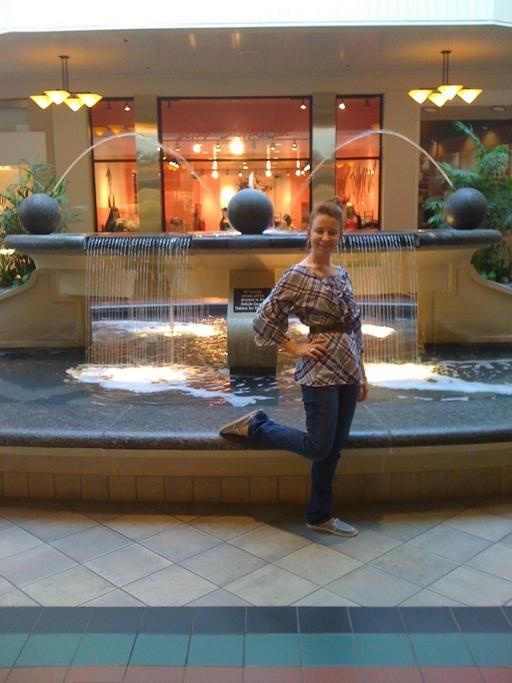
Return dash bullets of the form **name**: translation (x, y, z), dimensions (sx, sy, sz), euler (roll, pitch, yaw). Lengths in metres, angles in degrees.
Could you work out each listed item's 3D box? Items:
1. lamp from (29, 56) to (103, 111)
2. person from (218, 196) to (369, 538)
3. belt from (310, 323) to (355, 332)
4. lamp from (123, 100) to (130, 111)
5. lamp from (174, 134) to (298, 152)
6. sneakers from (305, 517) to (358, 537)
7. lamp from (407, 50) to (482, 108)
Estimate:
- **lamp**: translation (-3.937, -5.310, 12.408), dimensions (1.328, 0.940, 1.408), euler (-9, 17, -33)
- **person**: translation (0.199, 0.149, 2.760), dimensions (0.563, 1.523, 0.382), euler (2, 10, 16)
- **belt**: translation (0.338, -0.060, 2.640), dimensions (0.200, 0.045, 0.087), euler (-2, 9, -7)
- **lamp**: translation (-2.966, -5.393, 13.805), dimensions (0.137, 0.188, 0.050), euler (0, 6, 3)
- **lamp**: translation (-0.586, -4.664, 14.245), dimensions (3.028, 0.377, 0.217), euler (0, 29, 2)
- **sneakers**: translation (0.358, 0.857, 2.840), dimensions (0.226, 0.063, 0.080), euler (3, 5, 17)
- **lamp**: translation (3.857, -5.383, 12.227), dimensions (1.393, 0.919, 1.380), euler (13, 27, 37)
